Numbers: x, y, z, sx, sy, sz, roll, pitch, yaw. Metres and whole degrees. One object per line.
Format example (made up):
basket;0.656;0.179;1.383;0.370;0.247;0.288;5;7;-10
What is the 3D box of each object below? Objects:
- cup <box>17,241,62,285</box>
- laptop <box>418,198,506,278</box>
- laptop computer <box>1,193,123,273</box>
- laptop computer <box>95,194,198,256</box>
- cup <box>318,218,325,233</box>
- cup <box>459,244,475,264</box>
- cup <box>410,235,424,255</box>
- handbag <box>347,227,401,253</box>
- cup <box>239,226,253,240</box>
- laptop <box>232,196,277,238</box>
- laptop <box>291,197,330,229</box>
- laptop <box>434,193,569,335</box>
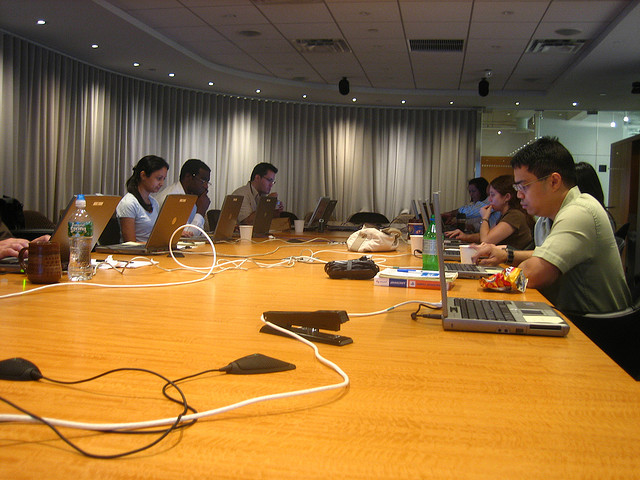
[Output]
cup;-1.009;0.082;1.672;0.145;0.146;0.102;1;5;-30
laptop;0.614;-0.041;2.110;0.327;0.288;0.398;-8;5;10
laptop computer;-1.073;-0.028;2.031;0.403;0.327;0.327;11;6;39
laptop computer;-1.016;-0.100;2.778;0.385;0.401;0.456;3;5;2
cup;0.008;-0.156;5.076;0.124;0.144;0.127;1;3;0
cup;0.702;0.068;2.251;0.076;0.075;0.082;0;0;0
cup;0.566;0.021;2.774;0.094;0.082;0.101;0;-2;0
handbag;0.353;-0.003;2.981;0.327;0.146;0.242;-4;8;-42
cup;-0.563;-0.058;3.587;0.093;0.085;0.093;0;6;0
laptop;-0.556;-0.211;4.152;0.333;0.338;0.447;0;5;12
laptop;-0.133;-0.322;5.345;0.250;0.373;0.422;4;0;18
laptop;0.518;0.021;1.383;0.335;0.420;0.451;0;1;13
